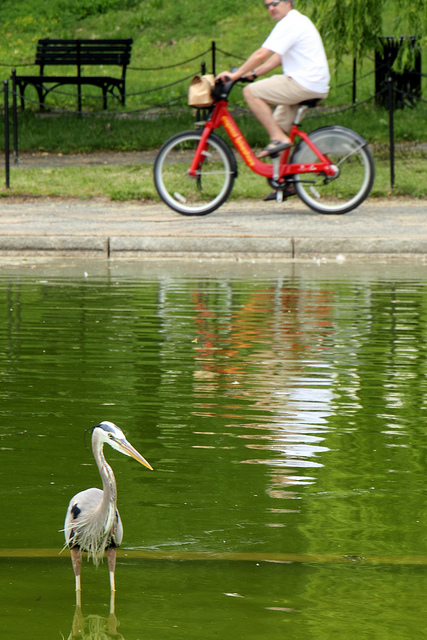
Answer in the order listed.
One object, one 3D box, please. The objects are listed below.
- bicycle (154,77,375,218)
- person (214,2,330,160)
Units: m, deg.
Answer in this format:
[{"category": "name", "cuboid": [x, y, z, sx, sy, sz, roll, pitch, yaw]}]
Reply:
[{"category": "bicycle", "cuboid": [0.441, -1.578, 11.148, 2.019, 1.300, 0.777, 0, 14, 8]}, {"category": "person", "cuboid": [0.583, -2.091, 10.684, 0.890, 1.322, 0.594, 0, 10, 0]}]
